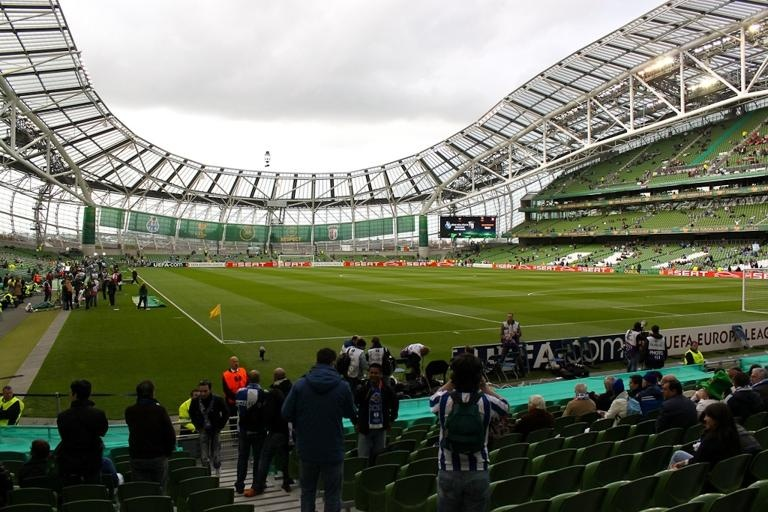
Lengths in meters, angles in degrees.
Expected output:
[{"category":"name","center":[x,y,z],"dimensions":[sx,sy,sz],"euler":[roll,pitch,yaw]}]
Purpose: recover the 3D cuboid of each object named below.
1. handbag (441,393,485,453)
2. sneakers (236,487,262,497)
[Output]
[{"category":"handbag","center":[0.954,2.017,6.567],"dimensions":[0.497,0.752,0.215],"euler":[-3,-7,5]},{"category":"sneakers","center":[-2.272,3.999,9.207],"dimensions":[0.391,0.117,0.133],"euler":[1,-5,0]}]
